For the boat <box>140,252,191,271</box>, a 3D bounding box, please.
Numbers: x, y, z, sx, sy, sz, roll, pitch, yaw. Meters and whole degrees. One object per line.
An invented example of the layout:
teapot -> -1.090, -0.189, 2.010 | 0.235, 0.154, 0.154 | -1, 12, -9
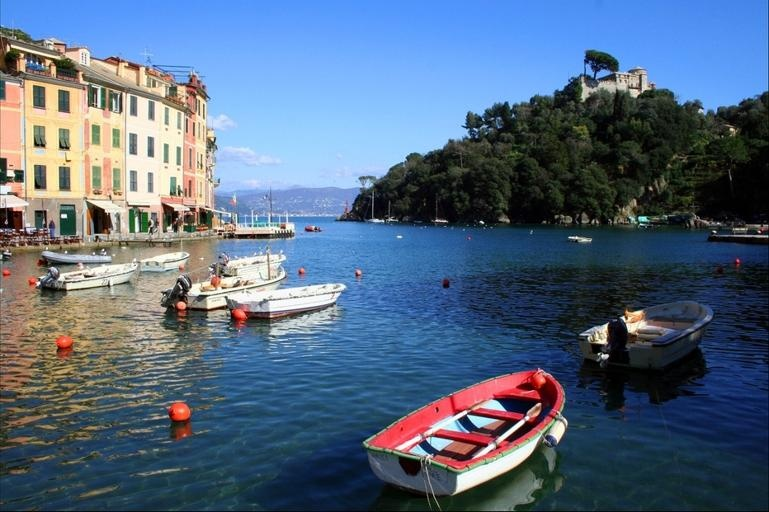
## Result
boat -> -16.471, 0.497, 51.303 | 1.672, 0.847, 2.874 | 2, 5, 12

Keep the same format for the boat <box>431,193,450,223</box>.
boat -> 14.622, -12.647, 181.836 | 4.283, 7.537, 10.867 | -2, 4, 3
